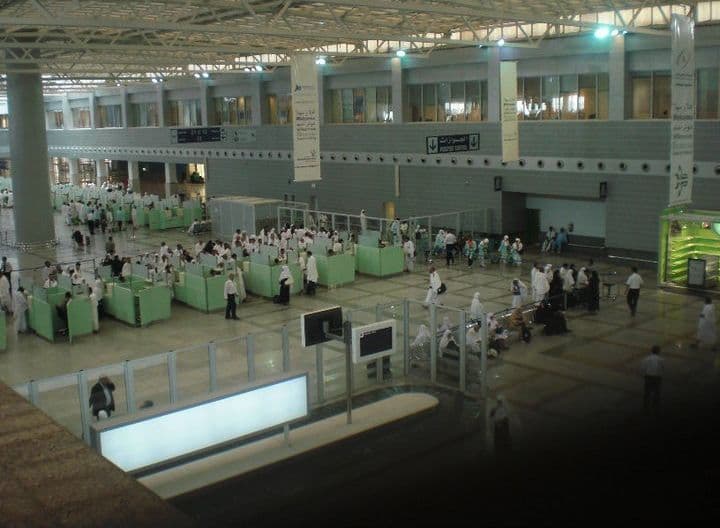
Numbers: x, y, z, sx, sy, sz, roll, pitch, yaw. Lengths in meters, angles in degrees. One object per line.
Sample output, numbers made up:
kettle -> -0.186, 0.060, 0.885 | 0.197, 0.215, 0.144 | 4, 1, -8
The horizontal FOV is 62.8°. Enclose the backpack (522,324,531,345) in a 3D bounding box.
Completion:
backpack -> 4.962, 2.041, 17.585 | 0.416, 0.520, 0.189 | 1, -1, -2

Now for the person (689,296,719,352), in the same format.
person -> 9.937, 1.448, 16.772 | 0.567, 1.533, 2.334 | 5, 14, 30

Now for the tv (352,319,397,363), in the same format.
tv -> 0.335, 1.628, 12.674 | 1.174, 0.721, 0.117 | -7, 9, -42

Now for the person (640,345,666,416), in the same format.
person -> 6.529, 2.399, 13.050 | 0.401, 1.493, 1.033 | 4, 13, 26

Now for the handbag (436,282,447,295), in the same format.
handbag -> 2.906, 0.820, 20.301 | 0.419, 0.406, 0.523 | -3, -1, -27

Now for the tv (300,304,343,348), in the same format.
tv -> -0.701, 1.314, 12.111 | 0.640, 0.830, 1.191 | -1, -10, -35

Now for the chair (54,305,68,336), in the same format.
chair -> -9.646, 1.797, 19.038 | 0.286, 1.025, 0.380 | -12, 15, -39

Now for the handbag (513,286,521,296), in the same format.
handbag -> 5.142, 0.836, 19.136 | 0.216, 0.272, 0.298 | 0, -1, -7

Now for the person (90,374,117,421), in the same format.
person -> -4.831, 2.489, 11.058 | 0.486, 0.777, 0.120 | -8, 13, -24
